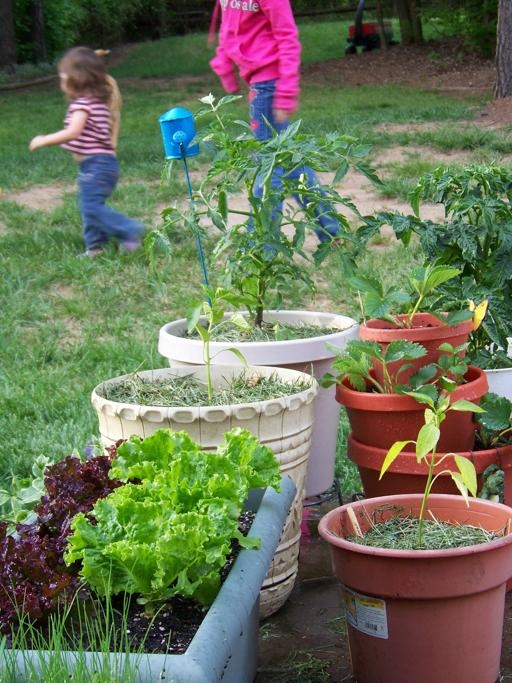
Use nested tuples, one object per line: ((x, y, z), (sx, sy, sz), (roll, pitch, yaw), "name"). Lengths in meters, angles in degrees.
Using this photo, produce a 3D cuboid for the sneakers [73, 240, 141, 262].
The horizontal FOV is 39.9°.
((-1.061, -0.680, 5.181), (0.501, 0.171, 0.152), (-7, 0, 2), "sneakers")
